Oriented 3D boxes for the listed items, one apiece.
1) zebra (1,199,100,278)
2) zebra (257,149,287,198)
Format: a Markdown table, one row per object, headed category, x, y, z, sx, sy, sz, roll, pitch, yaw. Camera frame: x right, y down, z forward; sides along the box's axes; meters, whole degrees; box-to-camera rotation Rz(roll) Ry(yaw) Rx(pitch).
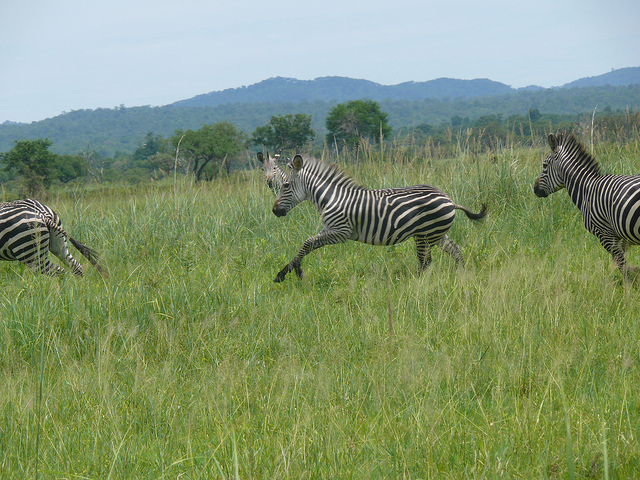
| category | x | y | z | sx | sy | sz | roll | pitch | yaw |
| --- | --- | --- | --- | --- | --- | --- | --- | --- | --- |
| zebra | -3.150 | 0.018 | 7.457 | 0.501 | 0.964 | 0.754 | 4 | 17 | 41 |
| zebra | -0.888 | -1.091 | 10.453 | 0.308 | 0.702 | 0.839 | -5 | 11 | -11 |
